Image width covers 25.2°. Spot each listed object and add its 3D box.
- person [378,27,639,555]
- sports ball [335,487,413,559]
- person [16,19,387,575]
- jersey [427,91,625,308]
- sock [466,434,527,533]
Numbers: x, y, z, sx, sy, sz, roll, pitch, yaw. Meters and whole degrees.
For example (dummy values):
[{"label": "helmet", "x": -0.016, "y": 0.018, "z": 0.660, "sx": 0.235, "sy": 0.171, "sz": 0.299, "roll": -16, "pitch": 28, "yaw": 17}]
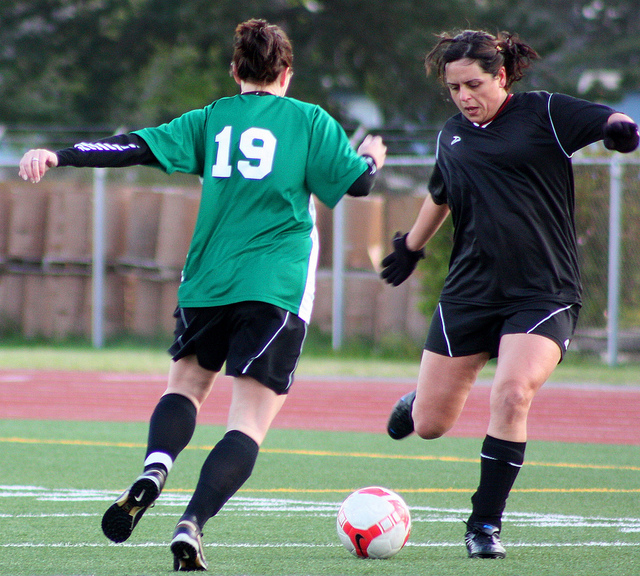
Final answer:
[{"label": "person", "x": 1.040, "y": -0.001, "z": 8.024, "sx": 1.265, "sy": 2.482, "sz": 0.713, "roll": 4, "pitch": 2, "yaw": 20}, {"label": "sports ball", "x": 0.290, "y": 1.274, "z": 7.816, "sx": 0.359, "sy": 0.358, "sz": 0.339, "roll": 1, "pitch": -26, "yaw": 0}, {"label": "person", "x": -0.459, "y": 0.007, "z": 7.608, "sx": 1.464, "sy": 2.236, "sz": 0.573, "roll": 3, "pitch": 2, "yaw": -11}, {"label": "jersey", "x": 1.146, "y": -0.496, "z": 8.133, "sx": 0.571, "sy": 1.252, "sz": 1.674, "roll": -3, "pitch": 0, "yaw": -42}, {"label": "sock", "x": 0.968, "y": 1.084, "z": 7.862, "sx": 0.287, "sy": 0.461, "sz": 0.155, "roll": 4, "pitch": 2, "yaw": 6}]
